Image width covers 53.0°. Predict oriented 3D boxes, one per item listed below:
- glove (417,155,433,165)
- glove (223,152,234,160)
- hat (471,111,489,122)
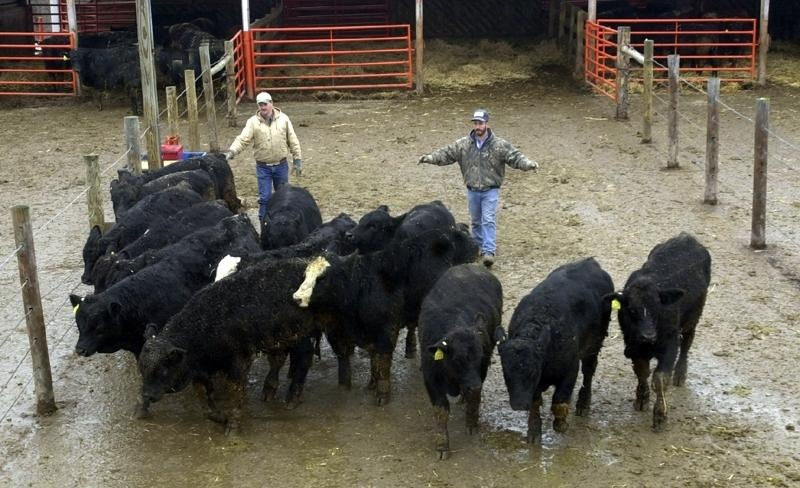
[{"bbox_3d":[0.440,-1.363,12.830,0.211,0.088,0.262,2,8,4],"label":"glove"},{"bbox_3d":[-2.906,-1.505,13.653,0.126,0.078,0.148,3,12,0],"label":"glove"},{"bbox_3d":[1.286,-2.009,12.662,0.212,0.176,0.190,-2,17,-5],"label":"hat"}]
